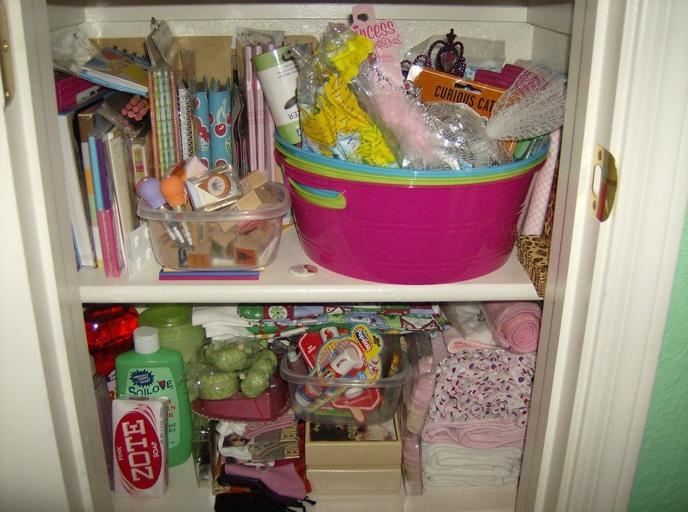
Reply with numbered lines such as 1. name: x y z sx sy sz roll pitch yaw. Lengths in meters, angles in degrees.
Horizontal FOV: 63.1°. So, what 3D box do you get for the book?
1. book: -0.264 -0.152 0.937 0.472 0.148 0.358 -6 37 -3
